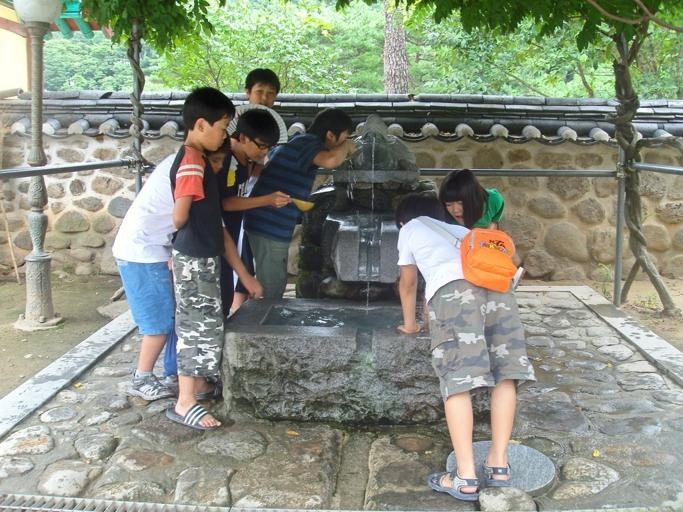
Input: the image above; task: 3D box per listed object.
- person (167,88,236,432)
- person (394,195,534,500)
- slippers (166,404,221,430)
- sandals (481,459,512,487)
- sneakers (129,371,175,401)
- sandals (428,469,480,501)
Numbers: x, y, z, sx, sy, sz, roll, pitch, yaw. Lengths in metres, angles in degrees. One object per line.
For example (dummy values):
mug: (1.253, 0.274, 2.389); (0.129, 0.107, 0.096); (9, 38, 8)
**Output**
person: (-0.702, 0.021, 2.734); (0.339, 1.687, 0.345); (4, 12, 15)
person: (0.470, 0.376, 2.542); (0.644, 1.233, 0.426); (-3, -29, -7)
slippers: (-0.757, 0.815, 2.799); (0.269, 0.071, 0.120); (8, 12, 23)
sandals: (0.667, 0.936, 2.325); (0.070, 0.061, 0.166); (-2, -9, 5)
sneakers: (-1.058, 0.729, 3.072); (0.293, 0.106, 0.120); (7, 4, 10)
sandals: (0.470, 0.953, 2.328); (0.211, 0.078, 0.108); (11, 16, 40)
